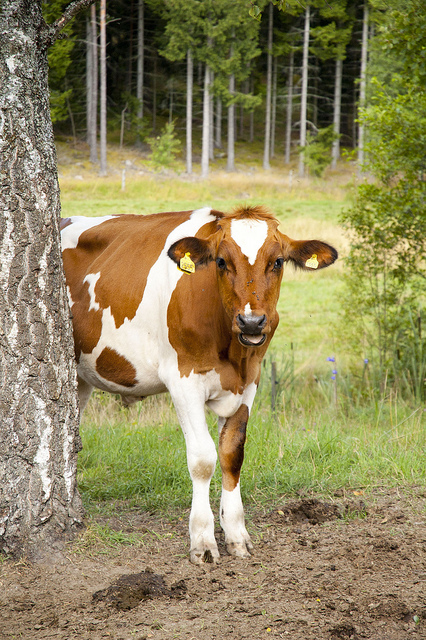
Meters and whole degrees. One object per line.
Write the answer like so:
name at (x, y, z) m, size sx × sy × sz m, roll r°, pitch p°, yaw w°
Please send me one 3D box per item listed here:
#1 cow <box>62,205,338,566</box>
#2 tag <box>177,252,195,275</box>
cow at (-0.269, 0.346, 5.320) m, size 0.978 × 2.113 × 3.175 m, roll -3°, pitch 5°, yaw -28°
tag at (-0.146, -0.320, 4.457) m, size 0.103 × 0.106 × 0.042 m, roll 18°, pitch -22°, yaw -39°
